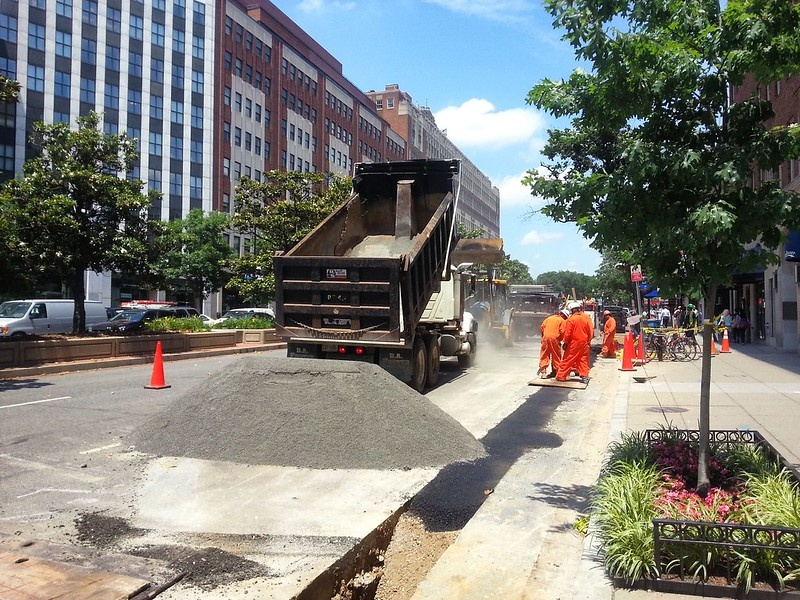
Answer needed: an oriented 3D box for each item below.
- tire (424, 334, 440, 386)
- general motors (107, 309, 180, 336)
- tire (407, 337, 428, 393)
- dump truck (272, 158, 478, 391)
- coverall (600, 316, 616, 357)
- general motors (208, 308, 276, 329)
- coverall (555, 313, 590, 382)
[{"bbox_3d":[0.699,1.324,14.807,0.318,1.158,1.066,0,-4,17],"label":"tire"},{"bbox_3d":[-10.491,0.772,25.861,1.158,1.098,2.751,-2,-5,15],"label":"general motors"},{"bbox_3d":[0.330,1.303,13.374,0.302,1.060,0.988,0,-10,14],"label":"tire"},{"bbox_3d":[-0.548,-0.988,15.428,3.175,4.367,6.079,2,19,16],"label":"dump truck"},{"bbox_3d":[7.198,1.133,22.850,0.495,1.489,0.502,4,7,41],"label":"coverall"},{"bbox_3d":[-7.377,0.847,31.074,1.439,0.732,0.868,8,-11,-43],"label":"general motors"},{"bbox_3d":[4.049,0.969,15.250,0.669,1.799,0.547,0,16,-2],"label":"coverall"}]
